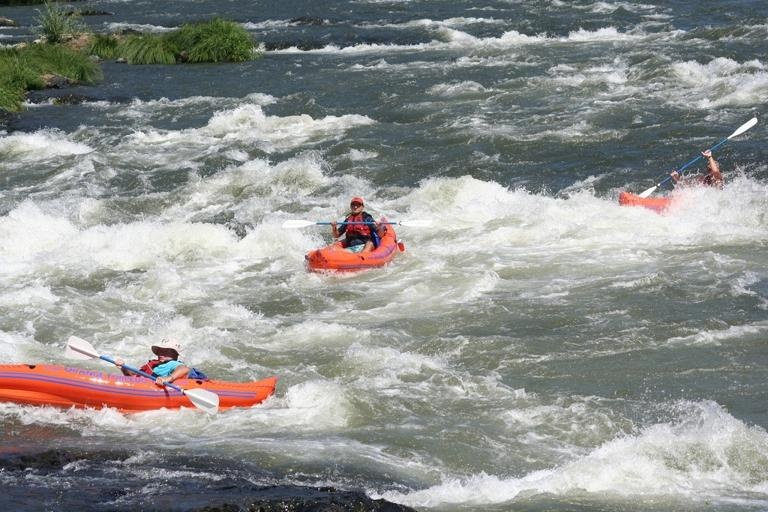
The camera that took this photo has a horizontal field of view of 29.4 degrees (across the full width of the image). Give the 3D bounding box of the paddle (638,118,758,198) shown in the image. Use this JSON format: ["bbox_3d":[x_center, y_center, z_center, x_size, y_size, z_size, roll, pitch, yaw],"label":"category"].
[{"bbox_3d":[8.443,-2.578,39.359,5.104,0.469,0.251,-27,-25,15],"label":"paddle"}]

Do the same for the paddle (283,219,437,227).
[{"bbox_3d":[-0.576,-0.858,36.935,3.663,0.253,0.105,1,-25,-2],"label":"paddle"}]

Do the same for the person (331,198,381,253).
[{"bbox_3d":[-0.781,-0.727,36.463,1.583,1.076,1.016,-2,11,-17],"label":"person"}]
